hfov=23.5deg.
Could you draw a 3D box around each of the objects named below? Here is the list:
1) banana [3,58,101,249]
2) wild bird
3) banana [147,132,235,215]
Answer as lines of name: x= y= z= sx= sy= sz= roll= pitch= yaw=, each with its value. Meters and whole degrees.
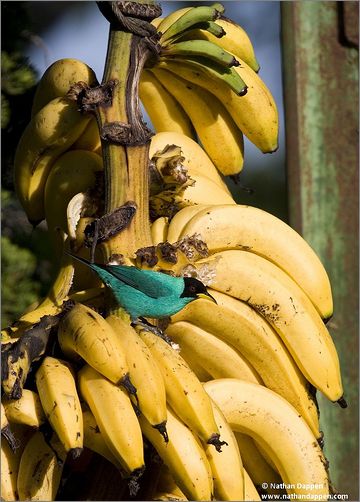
banana: x=-0.270 y=-0.198 z=1.838 sx=0.109 sy=0.382 sz=0.229 roll=19 pitch=36 yaw=36
wild bird: x=-0.088 y=0.065 z=1.549 sx=0.282 sy=0.079 sz=0.118 roll=22 pitch=87 yaw=3
banana: x=0.006 y=-0.147 z=1.803 sx=0.059 sy=0.219 sz=0.130 roll=13 pitch=74 yaw=44
